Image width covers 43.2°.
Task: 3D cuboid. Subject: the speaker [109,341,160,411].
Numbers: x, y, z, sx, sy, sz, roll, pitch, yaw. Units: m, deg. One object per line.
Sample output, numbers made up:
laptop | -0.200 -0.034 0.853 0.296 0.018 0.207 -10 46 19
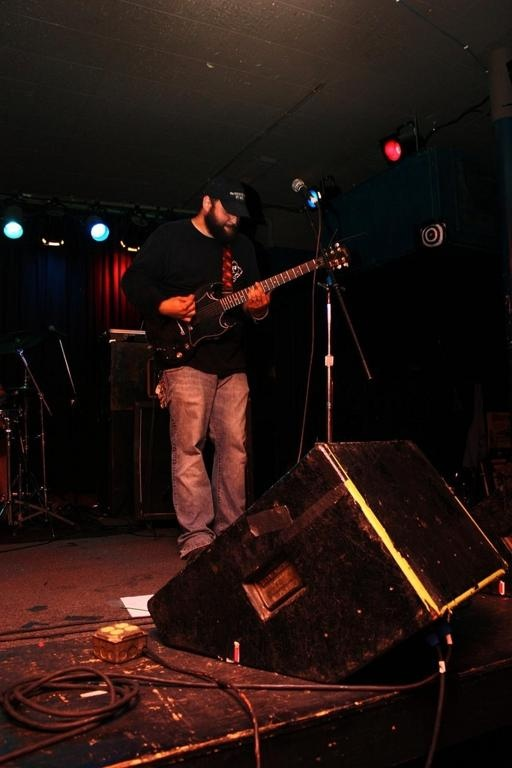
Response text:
speaker | -0.877 -0.099 4.687 0.302 0.355 0.236 4 3 -20

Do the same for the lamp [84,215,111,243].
lamp | -1.515 -1.473 6.180 0.222 0.222 0.246 -2 26 -16

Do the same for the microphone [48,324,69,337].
microphone | -1.867 -0.492 6.112 0.158 0.086 0.239 11 11 -39

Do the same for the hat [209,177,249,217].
hat | -0.077 -0.654 2.267 0.159 0.091 0.114 40 32 16

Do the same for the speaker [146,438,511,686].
speaker | 0.162 0.282 1.349 0.507 0.360 0.516 1 -5 31

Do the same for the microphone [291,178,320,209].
microphone | 0.201 -0.744 2.542 0.102 0.136 0.132 -3 5 8
